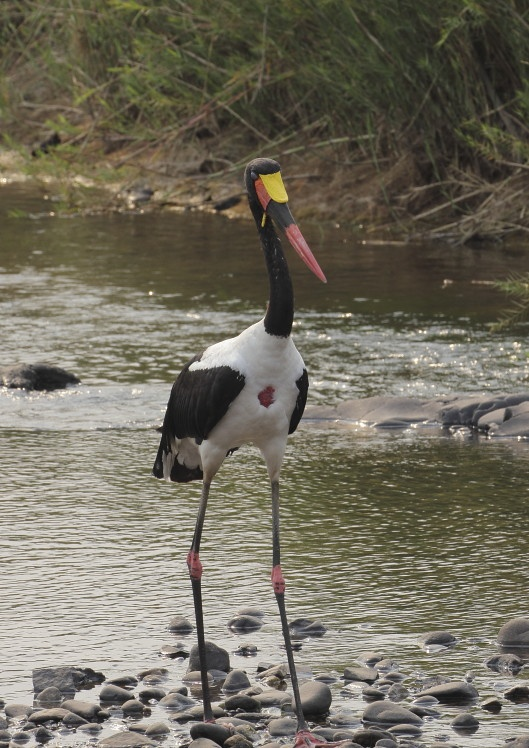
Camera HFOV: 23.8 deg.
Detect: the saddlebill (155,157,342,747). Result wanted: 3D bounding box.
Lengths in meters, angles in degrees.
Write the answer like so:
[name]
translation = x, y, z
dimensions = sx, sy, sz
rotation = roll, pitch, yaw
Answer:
[saddlebill]
translation = -0.090, 0.200, 4.552
dimensions = 0.692, 1.888, 1.015
rotation = -4, 20, -15
